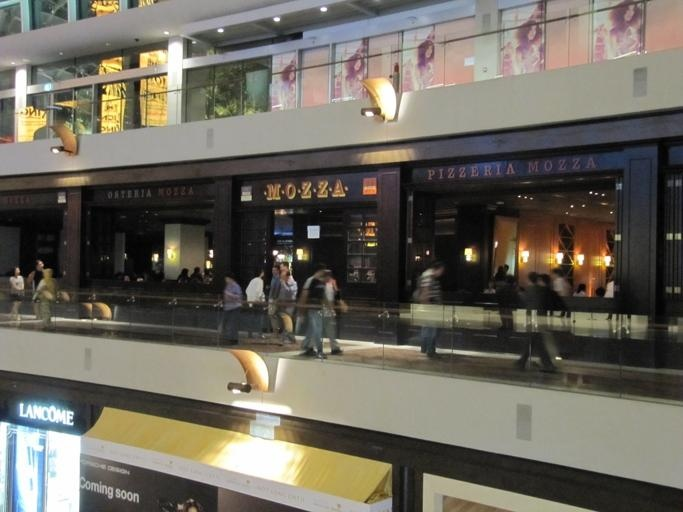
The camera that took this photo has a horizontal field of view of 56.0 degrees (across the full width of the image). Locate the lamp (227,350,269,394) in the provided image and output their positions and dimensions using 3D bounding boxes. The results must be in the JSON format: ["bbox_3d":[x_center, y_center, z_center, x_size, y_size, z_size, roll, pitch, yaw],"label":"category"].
[{"bbox_3d":[-1.968,2.330,13.249,0.964,1.047,0.620,2,-16,-28],"label":"lamp"}]

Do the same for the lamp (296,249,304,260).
[{"bbox_3d":[-1.406,-0.058,21.781,0.292,0.468,0.308,-1,-1,3],"label":"lamp"}]

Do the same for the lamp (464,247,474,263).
[{"bbox_3d":[3.609,-0.034,18.148,0.297,0.555,0.312,-1,-2,13],"label":"lamp"}]

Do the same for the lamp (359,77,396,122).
[{"bbox_3d":[0.901,-3.581,14.529,0.943,1.135,0.678,3,7,4],"label":"lamp"}]

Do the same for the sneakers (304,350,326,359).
[{"bbox_3d":[-0.488,1.909,12.463,0.447,0.207,0.158,-4,0,27],"label":"sneakers"}]

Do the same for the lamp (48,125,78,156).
[{"bbox_3d":[-8.578,-3.580,19.637,0.827,1.004,0.657,2,4,34],"label":"lamp"}]

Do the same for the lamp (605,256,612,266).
[{"bbox_3d":[8.664,0.175,20.841,0.289,0.364,0.303,2,-4,13],"label":"lamp"}]
